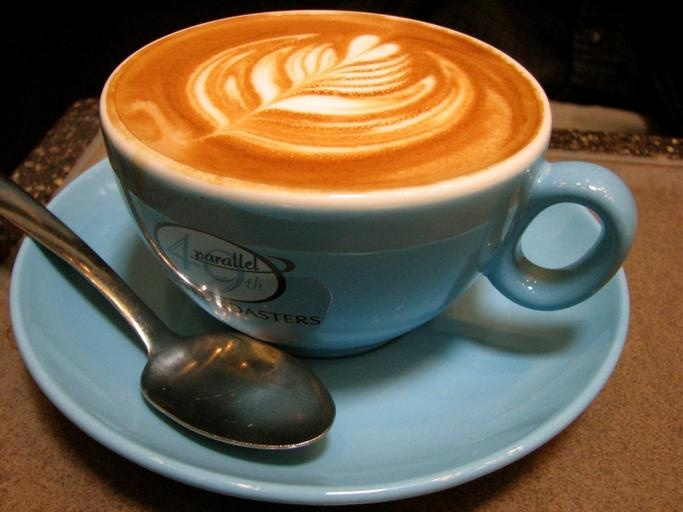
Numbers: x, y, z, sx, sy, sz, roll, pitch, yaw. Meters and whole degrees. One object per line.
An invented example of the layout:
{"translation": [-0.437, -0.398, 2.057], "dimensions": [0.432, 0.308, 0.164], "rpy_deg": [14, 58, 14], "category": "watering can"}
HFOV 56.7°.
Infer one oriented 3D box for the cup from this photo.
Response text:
{"translation": [0.004, -0.022, 0.697], "dimensions": [0.482, 0.218, 0.379], "rpy_deg": [16, 40, 16], "category": "cup"}
